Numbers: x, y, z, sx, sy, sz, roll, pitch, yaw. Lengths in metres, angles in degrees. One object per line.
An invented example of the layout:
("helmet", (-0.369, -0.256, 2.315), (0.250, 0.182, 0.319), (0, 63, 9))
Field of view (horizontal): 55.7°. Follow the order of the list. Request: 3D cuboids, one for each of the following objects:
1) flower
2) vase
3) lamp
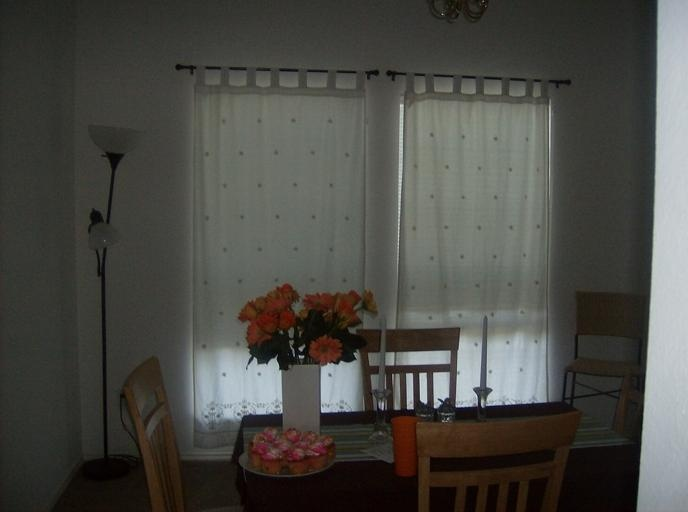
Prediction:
("flower", (-0.215, 0.313, 2.845), (0.415, 0.368, 0.441), (-4, -4, -18))
("vase", (-0.173, 0.598, 2.809), (0.209, 0.471, 0.230), (1, 0, -4))
("lamp", (-1.484, 0.300, 4.140), (0.419, 2.181, 0.506), (-3, 4, -25))
